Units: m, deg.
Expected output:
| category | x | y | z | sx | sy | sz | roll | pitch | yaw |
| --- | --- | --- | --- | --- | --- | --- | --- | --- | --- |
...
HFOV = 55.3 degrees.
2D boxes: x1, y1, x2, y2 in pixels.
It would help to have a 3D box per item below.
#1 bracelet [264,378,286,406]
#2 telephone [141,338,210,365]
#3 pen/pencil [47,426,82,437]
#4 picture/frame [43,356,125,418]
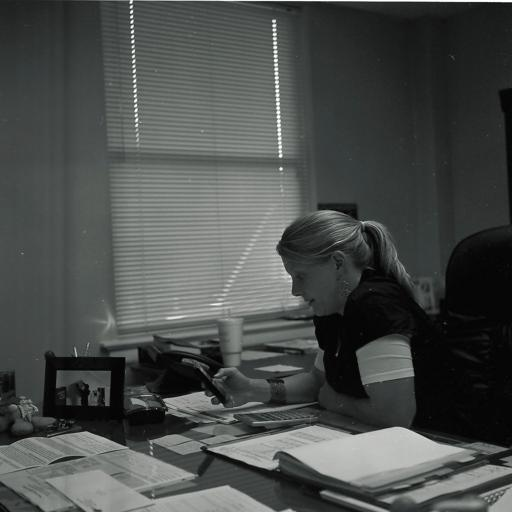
| category | x | y | z | sx | sy | sz | roll | pitch | yaw |
| --- | --- | --- | --- | --- | --- | --- | --- | --- | --- |
| bracelet | 0.036 | 0.250 | 0.899 | 0.035 | 0.037 | 0.028 | 4 | 4 | -4 |
| telephone | -0.180 | 0.221 | 1.130 | 0.107 | 0.037 | 0.085 | 5 | 2 | 33 |
| pen/pencil | -0.272 | 0.251 | 0.702 | 0.025 | 0.004 | 0.014 | -5 | 7 | -40 |
| picture/frame | -0.260 | 0.204 | 0.754 | 0.090 | 0.072 | 0.005 | 2 | -3 | 6 |
